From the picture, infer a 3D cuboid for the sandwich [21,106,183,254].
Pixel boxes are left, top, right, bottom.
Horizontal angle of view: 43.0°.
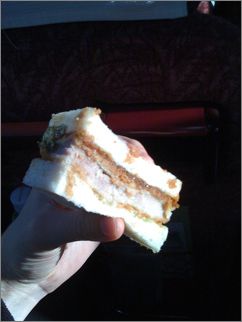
[{"bbox_3d":[-0.053,0.056,1.026,0.498,0.457,0.276,5,45,12],"label":"sandwich"}]
